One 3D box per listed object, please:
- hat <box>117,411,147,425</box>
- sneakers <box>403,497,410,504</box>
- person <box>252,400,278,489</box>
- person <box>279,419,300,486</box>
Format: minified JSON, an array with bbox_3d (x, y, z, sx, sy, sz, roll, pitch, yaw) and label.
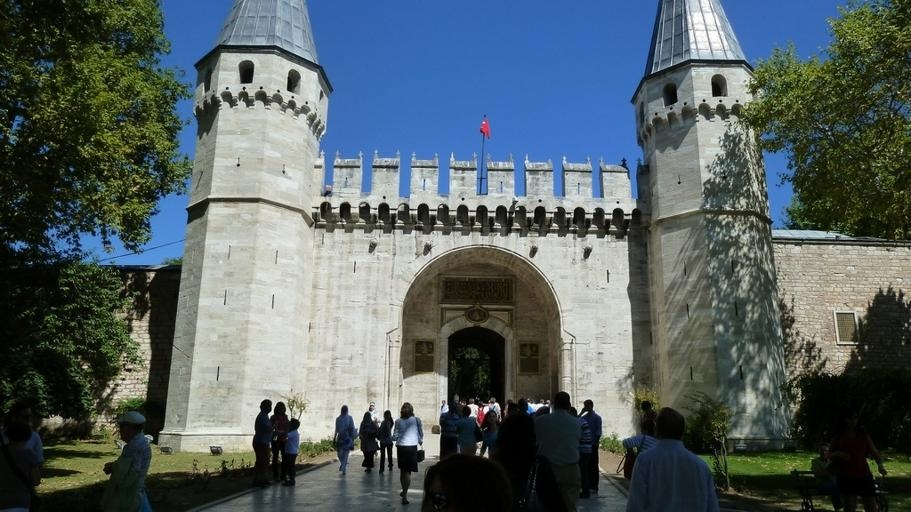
[{"bbox_3d":[-8.109,4.039,18.310,0.546,0.198,0.408,-7,-14,45],"label":"hat"},{"bbox_3d":[-1.456,7.228,21.728,0.189,0.136,0.382,0,-4,9],"label":"sneakers"},{"bbox_3d":[-6.132,5.973,23.488,0.565,2.593,0.460,4,-6,-32],"label":"person"},{"bbox_3d":[-5.357,6.329,23.795,0.499,1.968,0.870,2,-5,-15],"label":"person"}]
